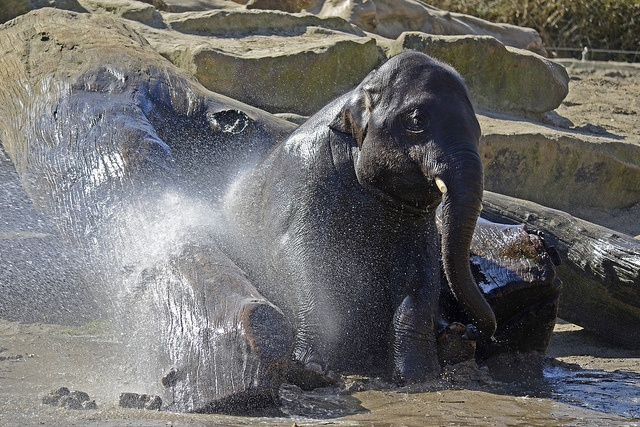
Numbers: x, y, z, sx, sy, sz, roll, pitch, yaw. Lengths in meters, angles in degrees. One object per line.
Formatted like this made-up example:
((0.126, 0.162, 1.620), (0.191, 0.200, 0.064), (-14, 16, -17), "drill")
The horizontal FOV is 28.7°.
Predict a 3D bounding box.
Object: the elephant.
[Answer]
((0.430, 0.163, 12.296), (1.759, 2.898, 4.059), (8, -12, -32), "elephant")
